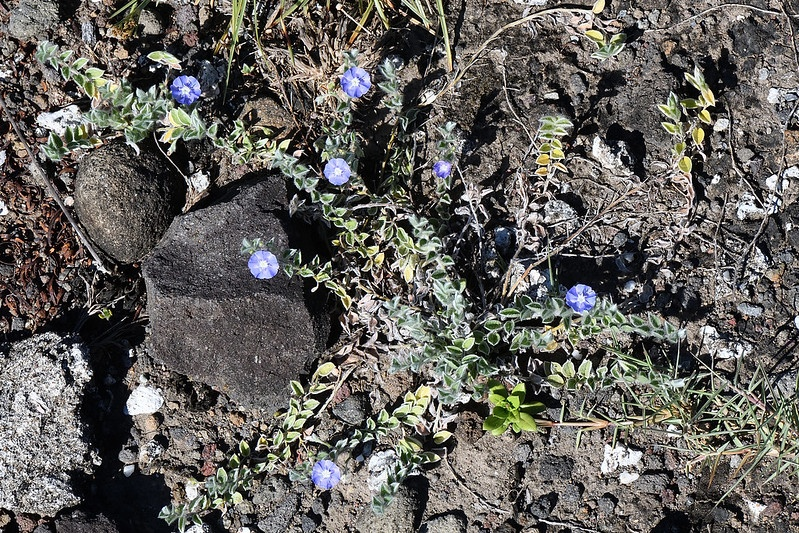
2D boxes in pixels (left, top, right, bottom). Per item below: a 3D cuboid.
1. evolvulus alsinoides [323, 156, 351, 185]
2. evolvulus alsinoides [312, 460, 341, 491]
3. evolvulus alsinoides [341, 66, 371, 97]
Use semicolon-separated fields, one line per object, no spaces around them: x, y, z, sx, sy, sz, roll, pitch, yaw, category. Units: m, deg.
-0.362;-0.537;5.040;0.152;0.214;0.117;1;41;-4;evolvulus alsinoides
-0.434;1.209;5.062;0.166;0.127;0.118;-1;42;-7;evolvulus alsinoides
-0.255;-1.088;5.062;0.167;0.167;0.116;-8;42;-14;evolvulus alsinoides
